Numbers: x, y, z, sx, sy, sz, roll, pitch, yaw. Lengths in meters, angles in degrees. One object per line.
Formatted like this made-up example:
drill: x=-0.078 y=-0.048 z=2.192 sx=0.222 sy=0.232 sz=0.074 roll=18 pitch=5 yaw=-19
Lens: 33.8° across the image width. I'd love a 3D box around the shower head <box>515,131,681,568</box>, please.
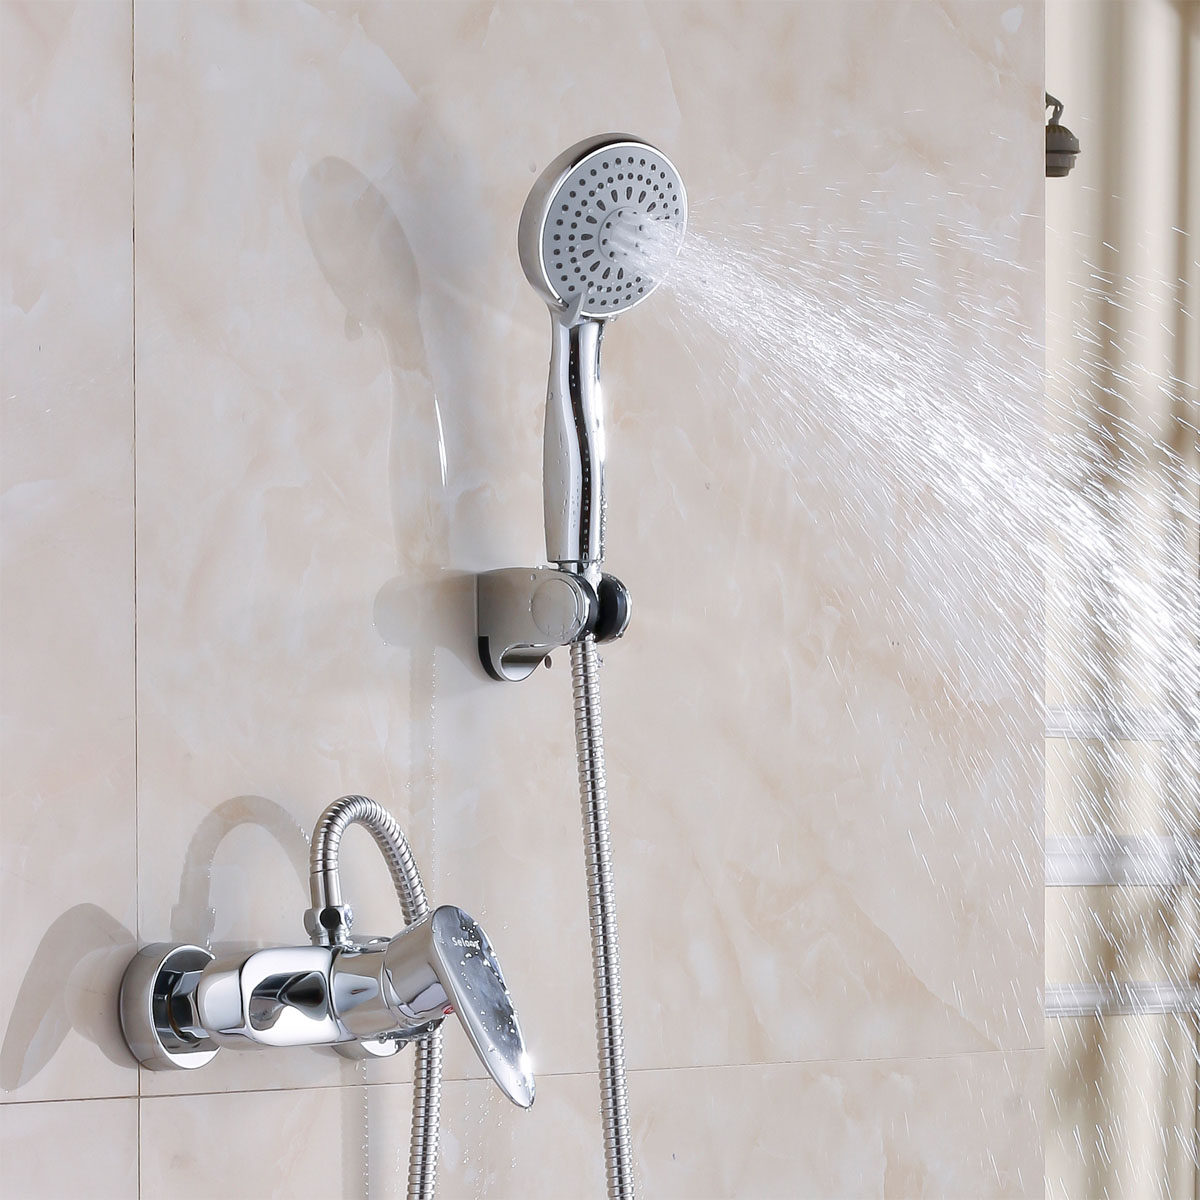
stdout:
shower head: x=-0.004 y=-0.157 z=1.283 sx=0.107 sy=0.203 sz=0.158 roll=5 pitch=46 yaw=-5
